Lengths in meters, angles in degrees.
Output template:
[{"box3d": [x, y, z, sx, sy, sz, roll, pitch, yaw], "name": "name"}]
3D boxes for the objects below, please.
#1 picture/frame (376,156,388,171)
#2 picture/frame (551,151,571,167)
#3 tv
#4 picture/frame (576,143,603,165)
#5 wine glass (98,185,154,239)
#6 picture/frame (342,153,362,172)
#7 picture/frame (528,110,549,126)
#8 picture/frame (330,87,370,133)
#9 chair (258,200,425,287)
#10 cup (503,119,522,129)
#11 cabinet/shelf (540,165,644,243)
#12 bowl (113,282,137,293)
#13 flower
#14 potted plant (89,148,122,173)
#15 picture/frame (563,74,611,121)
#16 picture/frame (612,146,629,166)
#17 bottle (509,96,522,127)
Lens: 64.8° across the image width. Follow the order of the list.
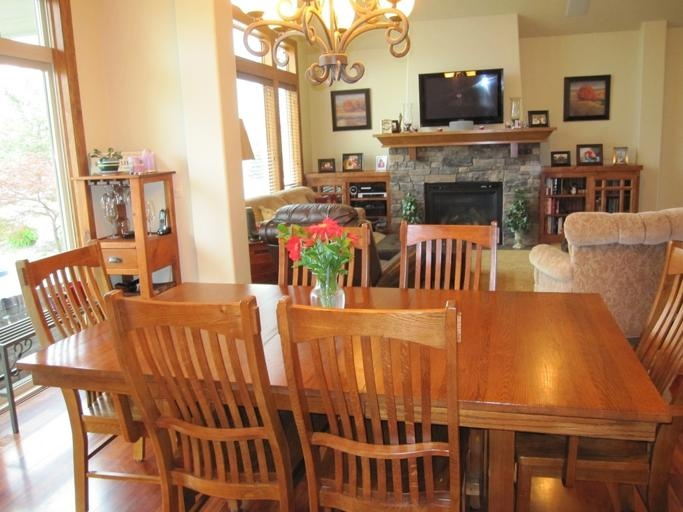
[{"box3d": [0.618, -1.444, 8.325, 0.163, 0.220, 0.136, -2, 13, 4], "name": "picture/frame"}, {"box3d": [3.085, -1.367, 7.582, 0.287, 0.272, 0.023, 0, 7, 8], "name": "picture/frame"}, {"box3d": [1.703, -2.230, 7.484, 0.872, 0.596, 0.229, 1, 13, 14], "name": "tv"}, {"box3d": [3.496, -1.427, 7.579, 0.348, 0.337, 0.027, 1, 1, 10], "name": "picture/frame"}, {"box3d": [-1.567, -0.311, 3.868, 0.319, 0.577, 0.296, 10, 15, 19], "name": "wine glass"}, {"box3d": [0.168, -1.465, 8.400, 0.333, 0.279, 0.239, -3, 13, -1], "name": "picture/frame"}, {"box3d": [2.715, -1.900, 7.435, 0.307, 0.245, 0.154, 1, 0, -5], "name": "picture/frame"}, {"box3d": [0.147, -2.296, 8.361, 0.725, 0.654, 0.053, 2, 14, 14], "name": "picture/frame"}, {"box3d": [0.012, -0.077, 4.604, 0.990, 0.905, 1.131, 2, 15, 13], "name": "chair"}, {"box3d": [2.340, -1.803, 7.367, 0.229, 0.165, 0.119, 3, 29, 7], "name": "cup"}, {"box3d": [2.830, -0.668, 6.071, 1.275, 1.155, 0.485, 1, 8, 10], "name": "cabinet/shelf"}, {"box3d": [-1.473, 0.214, 3.669, 0.085, 0.036, 0.104, 5, 6, 27], "name": "bowl"}, {"box3d": [-0.111, 0.007, 2.374, 0.361, 0.376, 0.368, -6, 9, -39], "name": "flower"}, {"box3d": [-1.672, -0.673, 3.815, 0.223, 0.151, 0.225, -2, 17, -19], "name": "potted plant"}, {"box3d": [3.495, -2.269, 7.615, 0.672, 0.650, 0.047, 1, 7, 11], "name": "picture/frame"}, {"box3d": [3.876, -1.399, 7.459, 0.202, 0.242, 0.493, 3, 13, 27], "name": "picture/frame"}, {"box3d": [2.376, -1.966, 7.357, 0.146, 0.415, 0.426, 1, 13, 17], "name": "bottle"}]
